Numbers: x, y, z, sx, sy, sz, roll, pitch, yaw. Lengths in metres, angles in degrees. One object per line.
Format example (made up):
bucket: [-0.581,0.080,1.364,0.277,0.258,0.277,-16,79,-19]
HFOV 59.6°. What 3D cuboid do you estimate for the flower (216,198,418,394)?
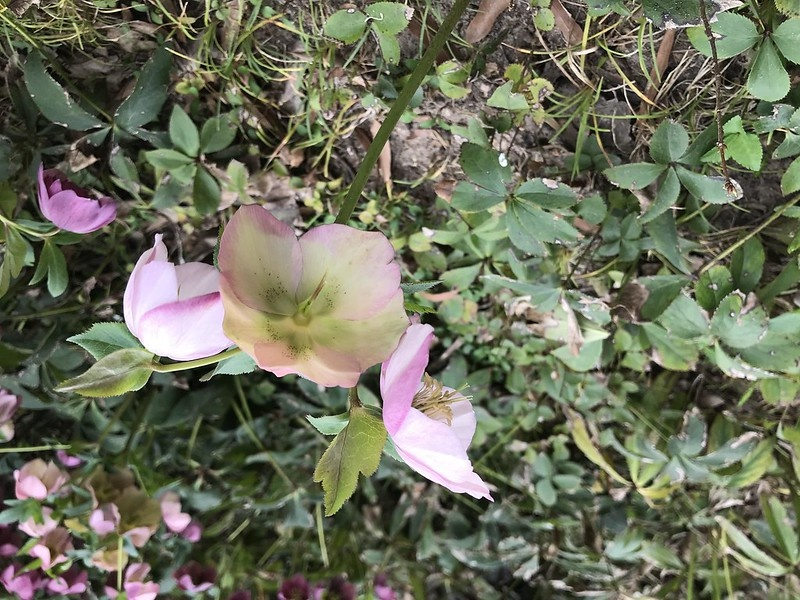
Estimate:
flower: [-0.107,-0.004,0.799,0.242,0.118,0.228,21,40,-19]

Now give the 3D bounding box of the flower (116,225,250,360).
flower: [-0.265,0.001,0.929,0.128,0.158,0.132,-34,79,15]
